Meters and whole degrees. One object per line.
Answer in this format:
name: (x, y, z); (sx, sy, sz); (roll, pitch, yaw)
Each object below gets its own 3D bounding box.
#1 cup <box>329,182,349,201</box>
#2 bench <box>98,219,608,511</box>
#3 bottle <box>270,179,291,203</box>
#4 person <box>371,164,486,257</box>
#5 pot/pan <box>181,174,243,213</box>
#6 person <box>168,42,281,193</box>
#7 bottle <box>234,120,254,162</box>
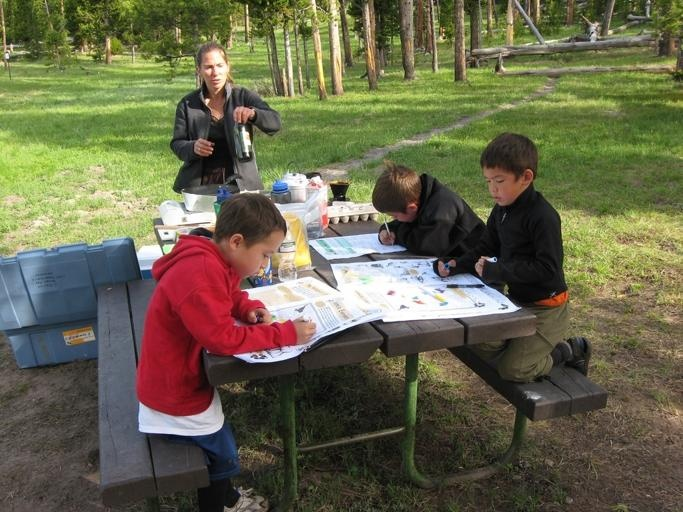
cup: (-0.016, -0.562, 4.913); (0.137, 0.189, 0.218); (-3, 19, 1)
bench: (-0.263, 0.693, 3.294); (1.912, 1.040, 2.139); (-4, 16, -17)
bottle: (-0.439, -0.453, 4.055); (0.127, 0.150, 0.156); (1, 11, 7)
person: (0.691, -0.279, 4.157); (0.954, 0.559, 0.712); (10, 14, -5)
pot/pan: (-1.109, -0.537, 4.763); (0.435, 0.159, 0.337); (-13, 21, -41)
person: (-1.088, -1.259, 5.210); (1.056, 1.335, 0.869); (13, 25, 39)
bottle: (-0.849, -0.986, 4.895); (0.140, 0.322, 0.292); (-6, 19, -10)
